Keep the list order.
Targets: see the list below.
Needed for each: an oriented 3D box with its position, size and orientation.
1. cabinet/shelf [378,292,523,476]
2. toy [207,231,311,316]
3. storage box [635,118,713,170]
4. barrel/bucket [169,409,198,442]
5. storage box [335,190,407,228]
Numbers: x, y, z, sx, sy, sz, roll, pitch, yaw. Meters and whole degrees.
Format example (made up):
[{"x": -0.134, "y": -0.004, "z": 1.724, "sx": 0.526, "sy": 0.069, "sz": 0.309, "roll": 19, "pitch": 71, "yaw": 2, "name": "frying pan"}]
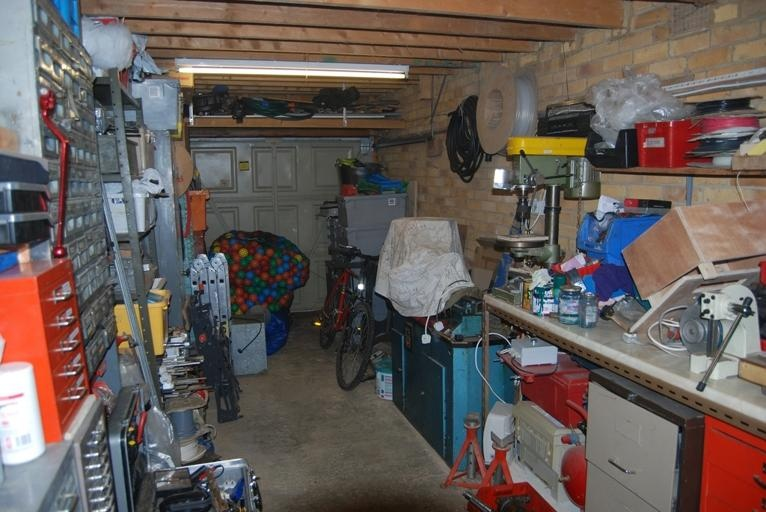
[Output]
[{"x": 0.478, "y": 0.811, "z": 4.521, "sx": 1.018, "sy": 1.402, "sz": 1.484, "roll": -3, "pitch": 10, "yaw": -18, "name": "cabinet/shelf"}, {"x": -1.425, "y": 0.232, "z": 6.511, "sx": 0.961, "sy": 0.941, "sz": 0.740, "roll": -9, "pitch": 15, "yaw": -29, "name": "toy"}, {"x": 1.650, "y": -0.634, "z": 3.179, "sx": 0.284, "sy": 0.274, "sz": 0.281, "roll": -6, "pitch": 13, "yaw": -19, "name": "storage box"}, {"x": -1.435, "y": 1.194, "z": 3.966, "sx": 0.220, "sy": 0.199, "sz": 0.191, "roll": -14, "pitch": 18, "yaw": -17, "name": "barrel/bucket"}, {"x": -0.111, "y": -0.586, "z": 6.755, "sx": 0.667, "sy": 0.311, "sz": 0.454, "roll": -6, "pitch": 10, "yaw": -40, "name": "storage box"}]
